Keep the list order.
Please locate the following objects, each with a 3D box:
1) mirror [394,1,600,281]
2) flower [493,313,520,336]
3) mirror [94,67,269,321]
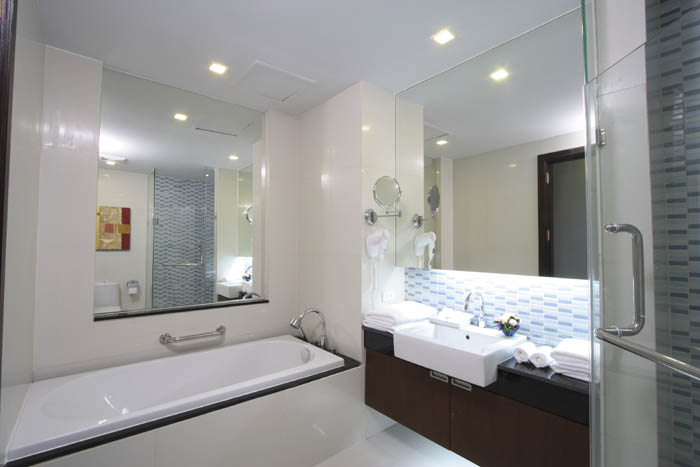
[{"bbox_3d":[1.121,-0.717,3.380,0.037,1.919,1.894,-3,3,-42],"label":"mirror"},{"bbox_3d":[1.184,0.688,3.475,0.156,0.136,0.158,-1,-7,23],"label":"flower"},{"bbox_3d":[-1.493,-0.339,3.995,1.399,1.740,0.171,-2,-1,-35],"label":"mirror"}]
